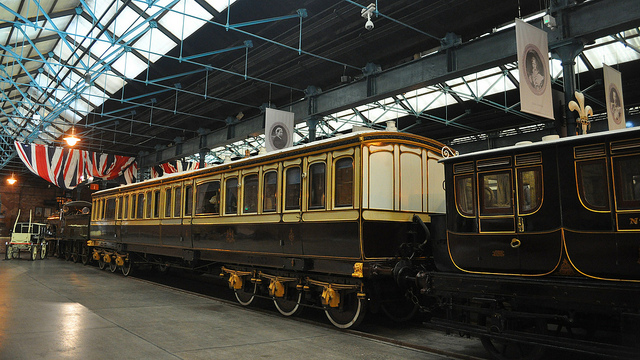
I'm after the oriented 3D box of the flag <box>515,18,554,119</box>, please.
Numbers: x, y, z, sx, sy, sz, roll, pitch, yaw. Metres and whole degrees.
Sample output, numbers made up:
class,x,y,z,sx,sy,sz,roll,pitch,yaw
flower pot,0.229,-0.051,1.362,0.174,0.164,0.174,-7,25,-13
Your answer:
class,x,y,z,sx,sy,sz,roll,pitch,yaw
flag,8.053,-4.222,18.109,1.061,4.096,1.321,2,-1,34

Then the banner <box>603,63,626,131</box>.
class,x,y,z,sx,sy,sz,roll,pitch,yaw
banner,12.222,-3.429,19.979,0.670,2.870,1.782,2,0,39

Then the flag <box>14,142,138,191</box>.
class,x,y,z,sx,sy,sz,roll,pitch,yaw
flag,-19.347,-1.042,38.501,1.110,3.452,9.793,2,0,29

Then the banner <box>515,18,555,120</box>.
class,x,y,z,sx,sy,sz,roll,pitch,yaw
banner,8.061,-4.192,18.106,1.061,4.114,1.338,2,-1,39

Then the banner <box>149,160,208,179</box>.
class,x,y,z,sx,sy,sz,roll,pitch,yaw
banner,-9.709,-0.766,32.544,1.514,0.898,2.392,-2,-5,2

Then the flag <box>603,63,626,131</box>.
class,x,y,z,sx,sy,sz,roll,pitch,yaw
flag,12.386,-3.182,20.068,2.517,3.107,0.059,3,-7,-43
